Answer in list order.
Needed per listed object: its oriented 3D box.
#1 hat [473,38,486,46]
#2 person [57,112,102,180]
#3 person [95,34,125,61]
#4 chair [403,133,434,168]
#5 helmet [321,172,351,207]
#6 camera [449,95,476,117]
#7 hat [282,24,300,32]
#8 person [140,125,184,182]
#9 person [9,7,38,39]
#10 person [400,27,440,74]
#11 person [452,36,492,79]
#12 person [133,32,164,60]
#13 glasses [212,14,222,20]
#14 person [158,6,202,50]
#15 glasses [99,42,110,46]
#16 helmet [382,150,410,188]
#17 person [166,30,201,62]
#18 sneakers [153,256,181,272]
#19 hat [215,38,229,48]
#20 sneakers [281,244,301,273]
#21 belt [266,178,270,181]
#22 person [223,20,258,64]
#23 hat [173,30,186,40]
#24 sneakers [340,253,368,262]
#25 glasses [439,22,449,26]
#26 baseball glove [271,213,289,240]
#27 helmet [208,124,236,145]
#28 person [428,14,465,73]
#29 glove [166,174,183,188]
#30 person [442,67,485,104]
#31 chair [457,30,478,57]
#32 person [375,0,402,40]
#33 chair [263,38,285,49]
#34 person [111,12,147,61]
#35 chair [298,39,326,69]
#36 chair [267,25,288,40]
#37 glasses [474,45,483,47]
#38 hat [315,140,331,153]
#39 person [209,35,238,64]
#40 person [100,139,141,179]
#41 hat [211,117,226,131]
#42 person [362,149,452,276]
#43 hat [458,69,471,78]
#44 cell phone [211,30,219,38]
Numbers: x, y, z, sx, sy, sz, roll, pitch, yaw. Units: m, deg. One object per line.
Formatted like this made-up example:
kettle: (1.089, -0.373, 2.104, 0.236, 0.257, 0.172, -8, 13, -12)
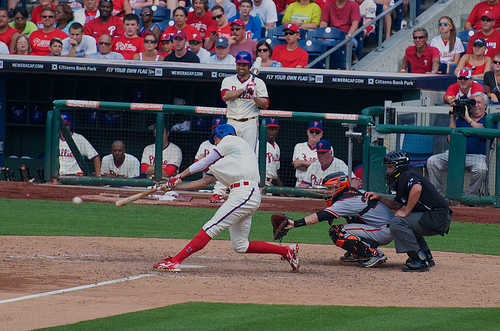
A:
hat: (5.221, -2.795, 22.858, 0.220, 0.149, 0.375, 1, 0, 37)
person: (-3.949, -0.441, 23.133, 1.713, 1.399, 0.539, -4, -1, -24)
person: (-3.333, -2.831, 24.080, 1.079, 0.655, 0.492, 1, 13, -5)
chair: (3.699, -0.378, 22.210, 0.661, 0.773, 0.846, 1, 7, 22)
helmet: (1.561, 0.397, 17.838, 0.494, 0.421, 0.391, -6, -5, 1)
camera: (4.624, -1.232, 21.416, 0.592, 0.487, 0.424, -1, 1, -29)
hat: (0.967, -3.229, 23.604, 0.358, 0.180, 0.335, 1, 0, -6)
person: (-2.019, -0.268, 22.431, 0.954, 1.214, 0.751, 3, 12, 7)
person: (-5.719, -3.565, 25.231, 1.106, 0.683, 0.560, 1, 12, -2)
person: (3.899, -2.617, 23.250, 0.908, 0.912, 0.533, 1, 0, 23)
person: (5.010, -2.331, 22.774, 0.944, 1.081, 1.130, 3, 17, 13)
person: (-2.442, -2.841, 24.122, 0.851, 0.595, 0.364, 0, 0, -3)
glasses: (-0.816, -3.569, 24.279, 0.099, 0.128, 0.270, 2, -1, -45)
person: (-1.588, -3.417, 24.447, 1.599, 0.993, 0.771, 1, 3, 6)
glasses: (-3.436, -2.881, 23.867, 0.286, 0.097, 0.156, 1, 0, -14)
helmet: (2.598, 0.007, 17.820, 0.533, 0.553, 0.470, -7, 3, -26)
person: (-1.668, -2.778, 23.739, 0.658, 0.706, 0.629, 1, -1, 41)
sneakers: (-1.394, 1.678, 17.251, 0.590, 0.254, 0.199, 4, -5, 1)
hat: (-0.661, -2.873, 23.508, 0.310, 0.222, 0.400, 1, 0, -2)
sneakers: (0.701, 1.523, 17.418, 0.312, 0.539, 0.200, -13, 18, 4)
belt: (0.384, 0.302, 22.128, 0.076, 0.062, 0.019, 8, 4, 2)
person: (-0.211, -2.891, 23.767, 0.942, 1.073, 0.717, 7, -3, 23)
hat: (-1.632, -3.052, 23.494, 0.306, 0.211, 0.288, 1, 0, -16)
sneakers: (1.868, 1.636, 18.026, 0.516, 0.190, 0.159, 3, 4, 8)
glasses: (4.475, -3.284, 23.432, 0.265, 0.090, 0.072, 1, -1, 41)
baseball glove: (0.499, 1.054, 17.537, 0.176, 0.418, 0.329, 7, 16, -41)
helmet: (-0.538, -0.614, 17.493, 0.553, 0.256, 0.361, 0, -2, 6)
person: (4.504, -2.706, 23.466, 0.870, 1.475, 0.866, 1, 5, 11)
glove: (-1.277, 0.250, 17.164, 0.311, 0.125, 0.146, -28, -18, 29)
person: (4.592, -1.646, 21.670, 0.920, 0.824, 1.211, -4, 4, 11)
chair: (5.107, -2.981, 24.158, 0.520, 0.617, 0.468, 0, 1, 6)
person: (3.303, -3.652, 24.985, 0.488, 0.889, 1.177, 1, 0, 7)
chair: (0.575, -2.956, 24.418, 0.372, 0.377, 0.327, 3, 5, 23)
person: (-2.944, -3.089, 24.405, 1.395, 1.150, 0.769, 2, 13, 0)
chair: (1.518, -2.694, 24.289, 0.803, 0.881, 0.691, -1, 4, 2)
chair: (0.650, -3.312, 25.033, 0.446, 0.557, 0.434, 2, 7, 9)
glasses: (5.132, -2.711, 22.754, 0.197, 0.044, 0.049, 1, 0, 14)
hat: (1.544, -0.415, 21.227, 0.313, 0.232, 0.372, 1, 0, 3)
person: (-0.671, -2.731, 23.729, 0.628, 0.596, 1.278, 2, -1, -6)
person: (-2.932, -0.081, 22.731, 1.026, 0.867, 0.569, 3, 2, 15)
hat: (-0.591, -0.796, 18.498, 0.249, 0.172, 0.358, -14, -12, 13)
person: (2.835, 0.781, 17.630, 1.278, 1.803, 0.465, 1, 0, 9)
hat: (4.608, -1.989, 21.675, 0.290, 0.207, 0.258, 1, 0, 10)
cell phone: (-0.847, -3.161, 24.218, 0.164, 0.137, 0.135, 5, 22, 13)
